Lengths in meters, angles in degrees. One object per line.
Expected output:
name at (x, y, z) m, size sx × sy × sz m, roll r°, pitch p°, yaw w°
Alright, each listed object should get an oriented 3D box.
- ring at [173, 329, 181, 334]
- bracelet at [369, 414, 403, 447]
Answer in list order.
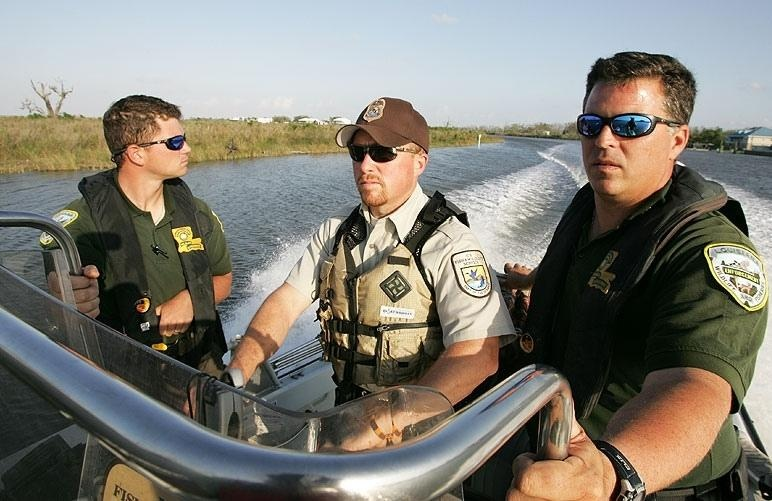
ring at (-1.329, 0.512, 3.419) m, size 0.029 × 0.028 × 0.029 m, roll 1°, pitch 7°, yaw 0°
bracelet at (0.001, 0.452, 1.358) m, size 0.053 × 0.040 × 0.069 m, roll 29°, pitch -10°, yaw -14°
